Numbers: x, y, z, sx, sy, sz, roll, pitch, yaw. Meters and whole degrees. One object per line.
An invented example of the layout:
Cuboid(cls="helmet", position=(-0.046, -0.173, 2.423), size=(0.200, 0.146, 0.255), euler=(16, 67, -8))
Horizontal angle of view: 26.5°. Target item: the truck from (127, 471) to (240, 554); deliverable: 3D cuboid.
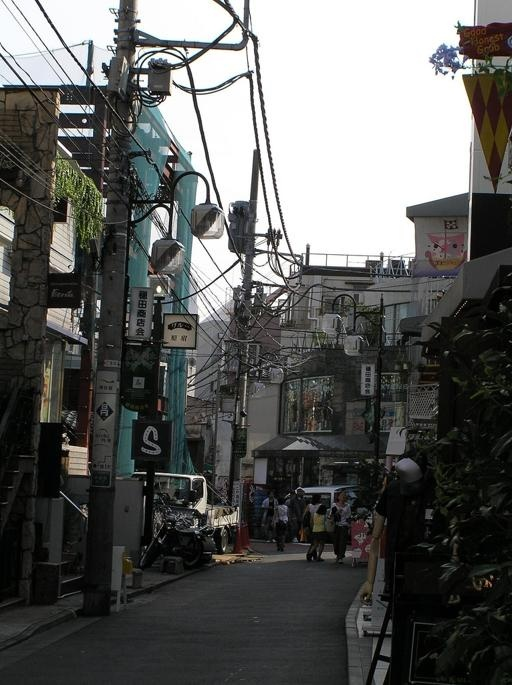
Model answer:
Cuboid(cls="truck", position=(-1.663, 3.983, 25.403), size=(1.839, 1.967, 3.318), euler=(1, -6, 17))

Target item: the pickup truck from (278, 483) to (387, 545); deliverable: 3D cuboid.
Cuboid(cls="pickup truck", position=(2.623, 5.531, 35.797), size=(1.314, 1.566, 2.685), euler=(2, -9, -44))

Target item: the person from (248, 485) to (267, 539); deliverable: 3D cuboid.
Cuboid(cls="person", position=(0.050, 6.068, 38.926), size=(0.779, 2.070, 0.595), euler=(2, 20, 4))

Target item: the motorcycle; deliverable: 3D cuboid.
Cuboid(cls="motorcycle", position=(-1.685, 3.797, 21.364), size=(1.665, 1.075, 0.947), euler=(13, -15, -39))
